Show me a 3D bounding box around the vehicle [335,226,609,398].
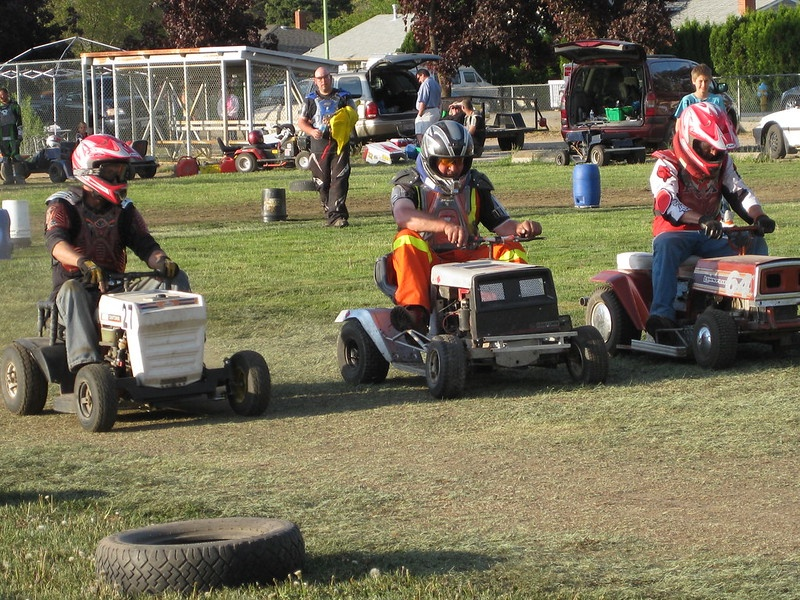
[{"bbox_3d":[0.603,0.149,14.793,1.702,1.315,2.187,-4,4,-26],"label":"vehicle"}]

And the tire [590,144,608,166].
[{"bbox_3d":[3.563,-2.627,30.537,0.192,0.376,0.568,-7,14,-20],"label":"tire"}]

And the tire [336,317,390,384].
[{"bbox_3d":[-0.348,0.463,14.758,0.222,0.600,0.567,-4,-1,-32],"label":"tire"}]

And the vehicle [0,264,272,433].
[{"bbox_3d":[-2.359,0.489,13.840,1.310,1.094,1.759,-5,10,-37],"label":"vehicle"}]

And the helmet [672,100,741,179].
[{"bbox_3d":[2.733,-1.416,15.099,0.392,0.650,0.723,-13,17,-39],"label":"helmet"}]

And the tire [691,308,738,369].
[{"bbox_3d":[2.678,0.349,14.527,0.171,0.536,0.510,1,-2,-21],"label":"tire"}]

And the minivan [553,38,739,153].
[{"bbox_3d":[4.044,-3.711,31.297,1.762,1.964,3.997,4,12,26],"label":"minivan"}]

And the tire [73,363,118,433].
[{"bbox_3d":[-2.434,0.785,13.499,0.153,0.472,0.424,-2,15,-30],"label":"tire"}]

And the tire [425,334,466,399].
[{"bbox_3d":[0.363,0.553,14.063,0.201,0.685,0.650,2,-7,-18],"label":"tire"}]

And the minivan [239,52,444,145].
[{"bbox_3d":[-1.254,-4.251,36.384,1.998,1.968,4.645,-9,15,-39],"label":"minivan"}]

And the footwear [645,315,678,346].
[{"bbox_3d":[2.295,0.266,14.898,0.161,0.324,0.129,-11,14,42],"label":"footwear"}]

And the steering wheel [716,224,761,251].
[{"bbox_3d":[2.980,-0.553,15.077,0.203,0.344,0.330,-6,3,-36],"label":"steering wheel"}]

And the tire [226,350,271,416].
[{"bbox_3d":[-1.250,0.696,13.797,0.157,0.476,0.450,-4,8,-31],"label":"tire"}]

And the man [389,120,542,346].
[{"bbox_3d":[0.444,-0.637,14.731,1.187,1.822,1.335,-4,8,-25],"label":"man"}]

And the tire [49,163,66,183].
[{"bbox_3d":[-6.845,-2.566,33.732,0.129,0.356,0.332,-2,-11,-43],"label":"tire"}]

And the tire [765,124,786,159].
[{"bbox_3d":[6.936,-2.945,31.207,0.202,0.676,0.645,-1,4,-15],"label":"tire"}]

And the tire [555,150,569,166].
[{"bbox_3d":[3.042,-2.686,31.758,0.096,0.246,0.236,-1,-27,-34],"label":"tire"}]

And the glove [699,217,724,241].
[{"bbox_3d":[2.706,-0.637,14.718,0.194,0.079,0.146,42,-1,-23],"label":"glove"}]

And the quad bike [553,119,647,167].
[{"bbox_3d":[3.512,-2.869,31.061,0.864,0.690,1.363,-6,7,-34],"label":"quad bike"}]

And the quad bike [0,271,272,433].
[{"bbox_3d":[-2.307,0.480,13.888,1.302,1.076,1.754,-4,9,-36],"label":"quad bike"}]
